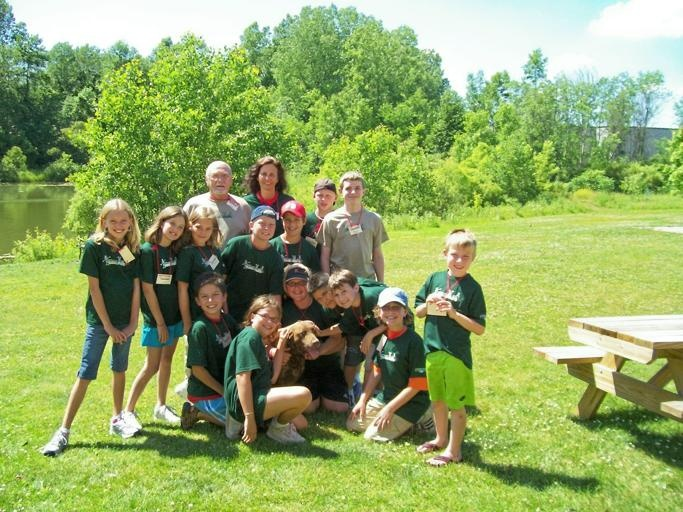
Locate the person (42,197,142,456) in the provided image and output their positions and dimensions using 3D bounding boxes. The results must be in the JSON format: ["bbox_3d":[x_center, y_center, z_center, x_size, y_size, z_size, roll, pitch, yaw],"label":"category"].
[{"bbox_3d":[-3.007,0.800,7.401,0.722,2.972,1.349,7,13,27],"label":"person"}]

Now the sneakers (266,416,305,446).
[{"bbox_3d":[-0.716,2.215,7.431,0.556,0.231,0.214,14,3,7],"label":"sneakers"}]

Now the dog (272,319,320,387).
[{"bbox_3d":[-0.613,1.344,7.918,0.608,0.919,0.408,-1,12,-5],"label":"dog"}]

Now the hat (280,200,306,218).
[{"bbox_3d":[-0.708,-0.683,8.611,0.336,0.251,0.394,-1,12,-6],"label":"hat"}]

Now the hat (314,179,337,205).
[{"bbox_3d":[-0.250,-1.055,9.270,0.325,0.259,0.327,1,5,-3],"label":"hat"}]

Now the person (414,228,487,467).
[{"bbox_3d":[1.336,1.072,7.172,0.829,2.703,1.061,1,12,2],"label":"person"}]

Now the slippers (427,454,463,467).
[{"bbox_3d":[1.223,2.441,6.986,0.275,0.067,0.157,3,-8,-3],"label":"slippers"}]

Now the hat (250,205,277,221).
[{"bbox_3d":[-1.114,-0.611,8.247,0.251,0.160,0.314,3,3,-27],"label":"hat"}]

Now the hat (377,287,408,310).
[{"bbox_3d":[0.680,0.552,7.587,0.416,0.274,0.318,-3,12,-19],"label":"hat"}]

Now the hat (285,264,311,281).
[{"bbox_3d":[-0.622,0.224,8.377,0.385,0.230,0.251,-1,12,-7],"label":"hat"}]

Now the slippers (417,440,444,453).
[{"bbox_3d":[1.099,2.371,7.285,0.237,0.063,0.136,3,-5,-16],"label":"slippers"}]
